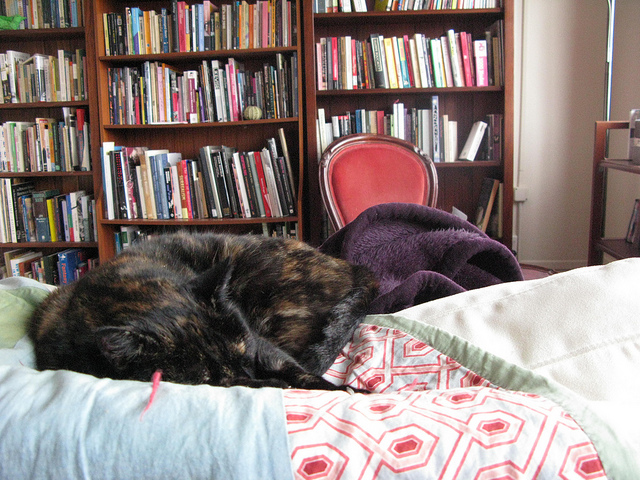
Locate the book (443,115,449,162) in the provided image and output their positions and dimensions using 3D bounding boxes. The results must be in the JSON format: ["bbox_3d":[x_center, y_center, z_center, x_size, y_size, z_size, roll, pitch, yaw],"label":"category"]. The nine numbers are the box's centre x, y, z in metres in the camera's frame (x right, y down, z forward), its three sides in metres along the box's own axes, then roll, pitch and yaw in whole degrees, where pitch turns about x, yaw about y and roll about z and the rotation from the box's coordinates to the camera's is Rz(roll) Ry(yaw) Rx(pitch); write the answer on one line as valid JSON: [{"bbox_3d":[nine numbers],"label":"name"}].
[{"bbox_3d":[0.650,-0.528,2.664,0.028,0.229,0.021,0,15,14],"label":"book"}]

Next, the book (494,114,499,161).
[{"bbox_3d":[0.903,-0.526,2.635,0.023,0.226,0.027,-1,14,10],"label":"book"}]

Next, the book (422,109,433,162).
[{"bbox_3d":[0.554,-0.547,2.656,0.051,0.249,0.030,1,15,17],"label":"book"}]

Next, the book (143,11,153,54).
[{"bbox_3d":[-0.864,-1.042,2.579,0.058,0.192,0.014,-1,14,12],"label":"book"}]

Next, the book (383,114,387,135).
[{"bbox_3d":[0.335,-0.601,2.662,0.018,0.091,0.027,-4,14,-3],"label":"book"}]

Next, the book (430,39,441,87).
[{"bbox_3d":[0.571,-0.886,2.552,0.021,0.162,0.213,-12,-14,9],"label":"book"}]

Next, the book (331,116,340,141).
[{"bbox_3d":[0.080,-0.583,2.681,0.033,0.116,0.043,3,16,25],"label":"book"}]

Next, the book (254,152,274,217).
[{"bbox_3d":[-0.290,-0.302,2.635,0.039,0.348,0.275,-17,13,-3],"label":"book"}]

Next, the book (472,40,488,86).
[{"bbox_3d":[0.791,-0.887,2.552,0.064,0.190,0.198,-3,12,4],"label":"book"}]

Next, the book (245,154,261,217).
[{"bbox_3d":[-0.347,-0.298,2.644,0.029,0.267,0.208,-15,40,0],"label":"book"}]

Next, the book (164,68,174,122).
[{"bbox_3d":[-0.775,-0.738,2.623,0.051,0.261,0.021,-6,14,-10],"label":"book"}]

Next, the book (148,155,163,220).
[{"bbox_3d":[-0.855,-0.274,2.671,0.057,0.244,0.238,-3,7,-15],"label":"book"}]

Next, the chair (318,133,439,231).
[{"bbox_3d":[0.226,-0.261,2.465,0.477,0.571,0.448,-2,-3,-9],"label":"chair"}]

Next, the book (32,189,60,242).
[{"bbox_3d":[-1.499,-0.124,2.805,0.094,0.257,0.266,-7,0,-2],"label":"book"}]

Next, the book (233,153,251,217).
[{"bbox_3d":[-0.404,-0.297,2.647,0.036,0.243,0.320,-15,5,-7],"label":"book"}]

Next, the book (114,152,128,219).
[{"bbox_3d":[-1.037,-0.285,2.678,0.039,0.339,0.043,-7,14,-12],"label":"book"}]

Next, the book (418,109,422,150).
[{"bbox_3d":[0.515,-0.576,2.659,0.021,0.190,0.026,1,15,17],"label":"book"}]

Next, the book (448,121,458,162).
[{"bbox_3d":[0.705,-0.524,2.707,0.044,0.200,0.125,4,16,29],"label":"book"}]

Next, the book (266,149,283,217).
[{"bbox_3d":[-0.219,-0.287,2.663,0.043,0.403,0.044,-11,10,1],"label":"book"}]

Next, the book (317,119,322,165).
[{"bbox_3d":[-0.008,-0.518,2.657,0.020,0.207,0.054,-1,14,9],"label":"book"}]

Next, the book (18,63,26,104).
[{"bbox_3d":[-1.570,-0.828,2.708,0.034,0.146,0.139,2,5,-19],"label":"book"}]

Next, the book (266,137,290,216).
[{"bbox_3d":[-0.220,-0.308,2.636,0.055,0.344,0.307,-15,22,4],"label":"book"}]

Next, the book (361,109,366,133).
[{"bbox_3d":[0.223,-0.619,2.668,0.023,0.104,0.045,-3,14,4],"label":"book"}]

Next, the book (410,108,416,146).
[{"bbox_3d":[0.480,-0.590,2.663,0.029,0.177,0.041,-1,14,10],"label":"book"}]

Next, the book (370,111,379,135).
[{"bbox_3d":[0.276,-0.618,2.672,0.042,0.103,0.029,-3,14,4],"label":"book"}]

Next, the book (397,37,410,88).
[{"bbox_3d":[0.414,-0.895,2.566,0.026,0.252,0.166,-13,24,4],"label":"book"}]

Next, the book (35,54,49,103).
[{"bbox_3d":[-1.447,-0.840,2.680,0.082,0.238,0.048,-10,16,-24],"label":"book"}]

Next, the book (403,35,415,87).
[{"bbox_3d":[0.440,-0.892,2.565,0.023,0.217,0.166,-14,36,8],"label":"book"}]

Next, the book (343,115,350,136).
[{"bbox_3d":[0.134,-0.602,2.678,0.034,0.097,0.022,-2,14,5],"label":"book"}]

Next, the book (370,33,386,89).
[{"bbox_3d":[0.282,-0.883,2.550,0.064,0.259,0.043,-2,14,8],"label":"book"}]

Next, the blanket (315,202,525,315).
[{"bbox_3d":[0.251,-0.002,1.031,0.261,0.108,0.321,19,-2,-10],"label":"blanket"}]

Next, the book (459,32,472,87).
[{"bbox_3d":[0.717,-0.888,2.540,0.061,0.255,0.040,1,15,17],"label":"book"}]

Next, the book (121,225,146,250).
[{"bbox_3d":[-0.845,-0.017,2.297,0.028,0.118,0.118,8,8,2],"label":"book"}]

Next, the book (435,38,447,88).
[{"bbox_3d":[0.594,-0.888,2.553,0.022,0.156,0.203,-13,-28,12],"label":"book"}]

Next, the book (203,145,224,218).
[{"bbox_3d":[-0.549,-0.314,2.653,0.064,0.277,0.271,-7,18,-8],"label":"book"}]

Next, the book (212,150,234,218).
[{"bbox_3d":[-0.499,-0.286,2.640,0.060,0.260,0.251,-5,11,-7],"label":"book"}]

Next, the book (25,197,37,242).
[{"bbox_3d":[-1.590,-0.112,2.822,0.043,0.184,0.185,0,6,-16],"label":"book"}]

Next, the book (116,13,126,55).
[{"bbox_3d":[-1.006,-1.038,2.600,0.040,0.194,0.051,-4,14,-1],"label":"book"}]

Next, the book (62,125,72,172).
[{"bbox_3d":[-1.346,-0.491,2.726,0.041,0.233,0.032,1,15,18],"label":"book"}]

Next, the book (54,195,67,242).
[{"bbox_3d":[-1.423,-0.118,2.805,0.043,0.185,0.187,0,6,-11],"label":"book"}]

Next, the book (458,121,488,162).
[{"bbox_3d":[0.780,-0.502,2.647,0.043,0.183,0.183,22,-4,-1],"label":"book"}]

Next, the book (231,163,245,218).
[{"bbox_3d":[-0.423,-0.240,2.655,0.017,0.323,0.032,-13,4,-12],"label":"book"}]

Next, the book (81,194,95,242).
[{"bbox_3d":[-1.261,-0.129,2.804,0.044,0.179,0.179,-2,3,-12],"label":"book"}]

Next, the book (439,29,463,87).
[{"bbox_3d":[0.655,-0.895,2.544,0.093,0.269,0.039,-1,14,12],"label":"book"}]

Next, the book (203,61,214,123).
[{"bbox_3d":[-0.565,-0.744,2.586,0.024,0.296,0.028,-6,14,-10],"label":"book"}]

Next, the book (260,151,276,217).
[{"bbox_3d":[-0.268,-0.294,2.662,0.037,0.345,0.045,-12,10,-9],"label":"book"}]

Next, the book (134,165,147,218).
[{"bbox_3d":[-0.938,-0.257,2.680,0.044,0.185,0.187,-1,13,-10],"label":"book"}]

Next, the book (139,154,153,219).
[{"bbox_3d":[-0.906,-0.276,2.676,0.044,0.330,0.026,3,16,25],"label":"book"}]

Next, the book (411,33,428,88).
[{"bbox_3d":[0.493,-0.889,2.556,0.039,0.230,0.187,-13,26,6],"label":"book"}]

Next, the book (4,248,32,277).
[{"bbox_3d":[-1.650,0.125,2.804,0.086,0.144,0.149,2,7,12],"label":"book"}]

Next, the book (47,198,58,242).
[{"bbox_3d":[-1.460,-0.109,2.805,0.037,0.157,0.157,-2,5,-14],"label":"book"}]

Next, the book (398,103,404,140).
[{"bbox_3d":[0.421,-0.617,2.652,0.022,0.171,0.052,7,18,38],"label":"book"}]

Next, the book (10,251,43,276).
[{"bbox_3d":[-1.626,0.097,2.866,0.100,0.170,0.180,3,4,3],"label":"book"}]

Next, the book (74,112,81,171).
[{"bbox_3d":[-1.290,-0.532,2.744,0.026,0.252,0.022,-6,-5,3],"label":"book"}]

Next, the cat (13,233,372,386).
[{"bbox_3d":[-0.162,0.080,0.728,0.247,0.107,0.299,-1,3,-18],"label":"cat"}]

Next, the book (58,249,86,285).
[{"bbox_3d":[-1.244,0.130,2.562,0.072,0.180,0.188,2,7,9],"label":"book"}]

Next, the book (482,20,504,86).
[{"bbox_3d":[0.865,-0.923,2.557,0.031,0.304,0.112,-11,16,-28],"label":"book"}]
